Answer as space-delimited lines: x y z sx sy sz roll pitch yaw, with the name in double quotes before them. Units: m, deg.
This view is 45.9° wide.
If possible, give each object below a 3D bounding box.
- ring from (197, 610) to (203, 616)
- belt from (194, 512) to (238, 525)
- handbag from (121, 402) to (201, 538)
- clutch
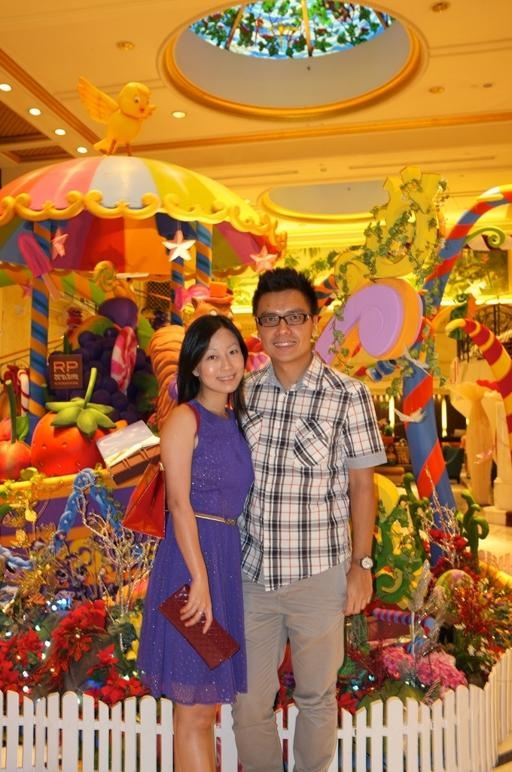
"ring" -0.145 0.585 1.562 0.010 0.009 0.010 -2 -7 0
"belt" -0.104 0.373 1.675 0.147 0.038 0.034 15 1 -31
"handbag" -0.281 0.314 1.700 0.106 0.247 0.277 1 -4 -24
"clutch" -0.156 0.619 1.570 0.150 0.238 0.049 -39 -5 -23
